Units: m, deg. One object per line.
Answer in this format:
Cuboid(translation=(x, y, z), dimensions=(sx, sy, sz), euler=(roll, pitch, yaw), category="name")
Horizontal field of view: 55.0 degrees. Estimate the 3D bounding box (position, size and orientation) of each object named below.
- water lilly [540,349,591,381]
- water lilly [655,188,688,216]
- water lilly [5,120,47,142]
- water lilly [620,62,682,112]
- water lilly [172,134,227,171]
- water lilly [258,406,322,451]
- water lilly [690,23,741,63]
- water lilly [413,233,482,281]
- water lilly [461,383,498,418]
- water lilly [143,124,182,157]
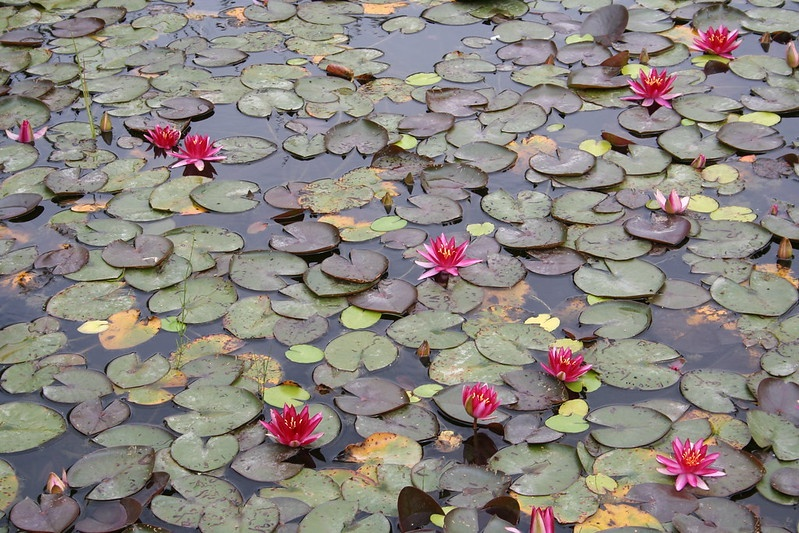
Cuboid(translation=(0.941, 0.563, 4.400), dimensions=(0.325, 0.093, 0.210), euler=(1, 30, 4), category="water lilly")
Cuboid(translation=(1.847, -0.441, 5.207), dimensions=(0.229, 0.102, 0.209), euler=(-11, 27, -14), category="water lilly")
Cuboid(translation=(-2.859, -1.018, 5.885), dimensions=(0.300, 0.115, 0.234), euler=(-8, 33, -25), category="water lilly")
Cuboid(translation=(1.977, -1.396, 6.080), dimensions=(0.528, 0.155, 0.391), euler=(-15, 38, -9), category="water lilly")
Cuboid(translation=(-1.498, -0.871, 5.654), dimensions=(0.398, 0.107, 0.312), euler=(-12, 7, -26), category="water lilly")
Cuboid(translation=(-0.594, 0.878, 4.151), dimensions=(0.297, 0.084, 0.246), euler=(5, 17, 7), category="water lilly")
Cuboid(translation=(2.697, -1.874, 6.510), dimensions=(0.384, 0.333, 0.123), euler=(10, 76, 19), category="water lilly")
Cuboid(translation=(0.311, -0.080, 4.884), dimensions=(0.422, 0.279, 0.329), euler=(1, 47, 1), category="water lilly")
Cuboid(translation=(0.407, 0.761, 4.199), dimensions=(0.253, 0.090, 0.198), euler=(6, 6, -1), category="water lilly")
Cuboid(translation=(-1.791, -0.973, 5.816), dimensions=(0.388, 0.233, 0.116), euler=(-7, 35, 1), category="water lilly")
